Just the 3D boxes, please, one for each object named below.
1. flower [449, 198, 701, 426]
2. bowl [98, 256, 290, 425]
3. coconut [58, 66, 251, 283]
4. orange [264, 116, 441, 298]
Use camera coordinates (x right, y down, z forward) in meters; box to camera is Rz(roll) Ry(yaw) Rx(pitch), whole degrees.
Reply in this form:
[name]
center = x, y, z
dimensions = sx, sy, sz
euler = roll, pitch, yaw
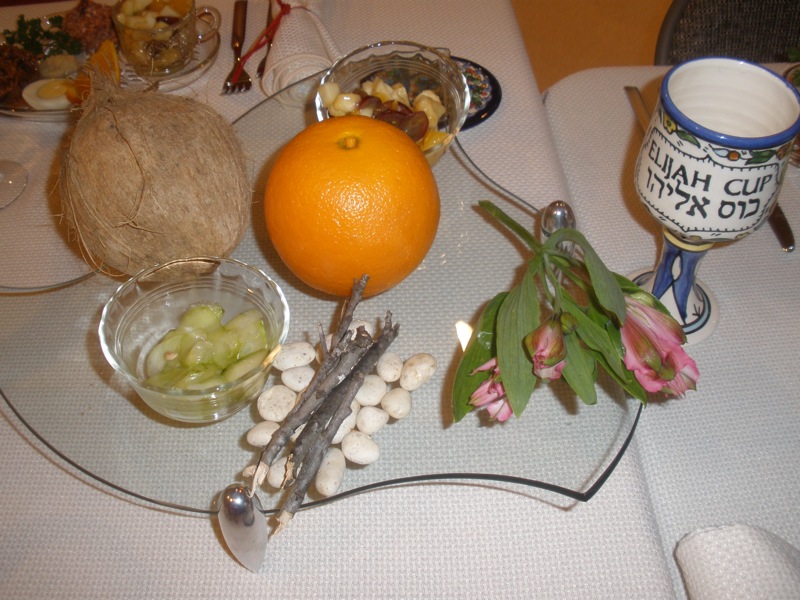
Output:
[flower]
center = 0.169, 0.015, 0.600
dimensions = 0.205, 0.114, 0.242
euler = 3, 40, 32
[bowl]
center = -0.215, 0.015, 0.678
dimensions = 0.169, 0.100, 0.186
euler = -8, 58, -13
[coconut]
center = -0.263, -0.129, 0.798
dimensions = 0.205, 0.205, 0.218
euler = -32, 69, -29
[orange]
center = -0.042, -0.100, 0.722
dimensions = 0.165, 0.176, 0.176
euler = 1, 38, 1
